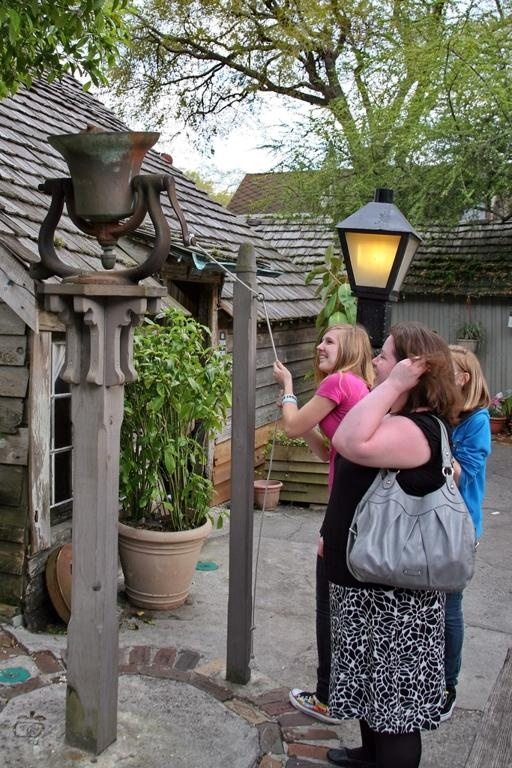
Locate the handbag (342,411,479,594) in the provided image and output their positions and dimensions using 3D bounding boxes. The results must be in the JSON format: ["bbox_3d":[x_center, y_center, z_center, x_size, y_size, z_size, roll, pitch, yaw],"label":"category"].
[{"bbox_3d":[0.489,0.370,2.383,0.384,0.513,0.192,4,4,6],"label":"handbag"}]

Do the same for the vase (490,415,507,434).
[{"bbox_3d":[4.031,0.672,12.733,0.453,0.286,0.168,0,5,-33],"label":"vase"}]

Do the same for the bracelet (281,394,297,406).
[{"bbox_3d":[0.136,0.064,3.355,0.027,0.052,0.043,4,4,-32],"label":"bracelet"}]

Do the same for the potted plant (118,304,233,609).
[{"bbox_3d":[-0.533,0.557,4.896,0.742,1.672,0.845,1,-4,-14],"label":"potted plant"}]
